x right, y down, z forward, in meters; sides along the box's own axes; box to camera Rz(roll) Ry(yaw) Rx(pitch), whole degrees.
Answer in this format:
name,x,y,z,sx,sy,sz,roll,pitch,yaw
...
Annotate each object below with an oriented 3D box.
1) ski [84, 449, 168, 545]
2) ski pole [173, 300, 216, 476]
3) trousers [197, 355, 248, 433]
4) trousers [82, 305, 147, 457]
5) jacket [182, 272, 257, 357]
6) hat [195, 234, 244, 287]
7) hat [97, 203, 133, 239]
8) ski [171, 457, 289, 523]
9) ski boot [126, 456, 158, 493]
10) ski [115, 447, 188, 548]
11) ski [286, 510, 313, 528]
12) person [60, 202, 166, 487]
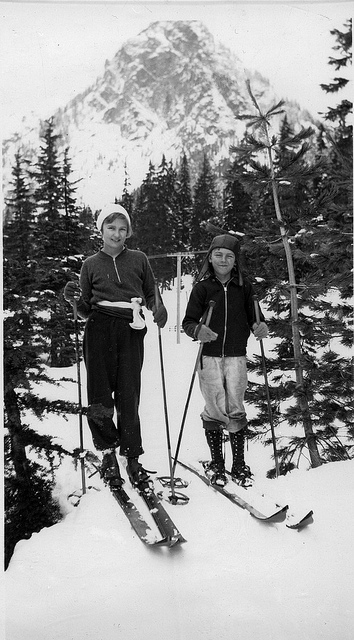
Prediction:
name,x,y,z,sx,sy,sz,roll,pitch,yaw
ski,-0.312,1.056,3.308,0.068,0.104,0.706,-11,48,-35
ski pole,0.118,0.461,3.732,0.043,1.152,0.088,14,1,2
trousers,0.298,0.438,3.637,0.298,0.644,0.207,-4,29,0
trousers,-0.367,0.363,3.416,0.378,0.908,0.233,-3,6,-7
jacket,0.297,-0.043,3.641,0.456,0.573,0.290,-1,15,-3
hat,0.272,-0.381,3.683,0.267,0.342,0.181,15,13,4
hat,-0.392,-0.632,3.536,0.152,0.239,0.175,6,9,-8
ski,0.298,1.052,3.456,0.068,0.118,0.614,6,24,-48
ski boot,-0.224,0.910,3.418,0.082,0.127,0.283,4,42,-33
ski,-0.189,1.008,3.430,0.100,0.123,0.994,-1,26,-26
ski,0.715,1.227,3.418,0.066,0.210,0.069,18,47,-44
person,-0.339,0.141,3.413,0.504,1.677,0.437,-3,6,-12
